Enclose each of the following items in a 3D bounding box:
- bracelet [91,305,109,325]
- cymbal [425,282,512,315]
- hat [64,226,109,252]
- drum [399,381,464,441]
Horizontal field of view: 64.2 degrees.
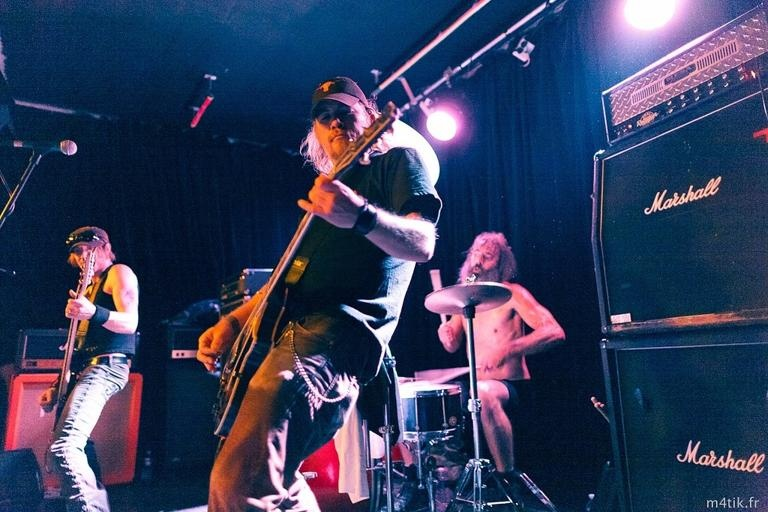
[{"bbox_3d":[-2.546,0.536,5.541,0.153,0.180,0.192,-8,-4,-15],"label":"bracelet"},{"bbox_3d":[0.776,0.367,5.392,0.466,0.106,0.449,7,-30,-22],"label":"cymbal"},{"bbox_3d":[-2.958,-0.172,6.177,0.290,0.197,0.392,-12,-15,-8],"label":"hat"},{"bbox_3d":[0.432,1.493,5.872,0.717,0.417,0.691,-4,-11,-1],"label":"drum"}]
